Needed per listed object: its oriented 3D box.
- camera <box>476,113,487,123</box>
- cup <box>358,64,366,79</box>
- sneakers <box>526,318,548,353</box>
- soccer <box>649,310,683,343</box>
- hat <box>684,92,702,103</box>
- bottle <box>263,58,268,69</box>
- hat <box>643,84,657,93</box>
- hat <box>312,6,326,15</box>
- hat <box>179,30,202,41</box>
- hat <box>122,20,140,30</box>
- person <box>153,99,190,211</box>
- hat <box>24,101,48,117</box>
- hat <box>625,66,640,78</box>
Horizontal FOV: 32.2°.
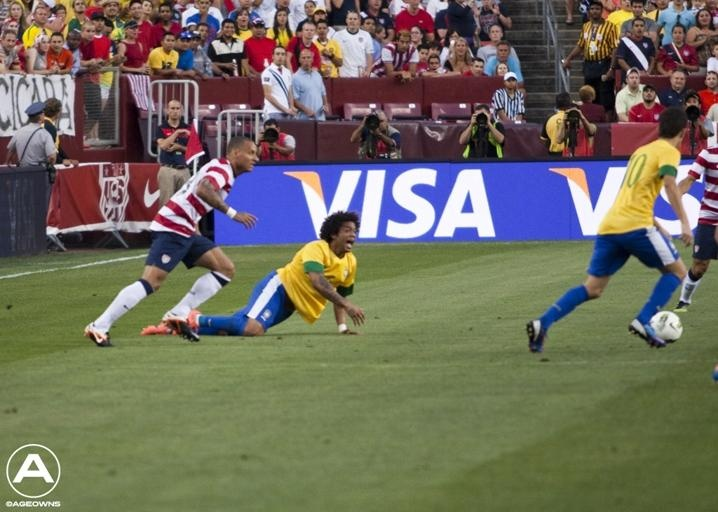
[{"bbox_3d":[2.265,-2.546,23.198,0.206,0.176,0.130,-2,10,-9],"label":"camera"},{"bbox_3d":[0.077,-4.007,27.096,0.255,0.268,0.163,2,-2,-12],"label":"cup"},{"bbox_3d":[1.968,0.903,13.992,0.190,0.463,0.153,-9,30,-13],"label":"sneakers"},{"bbox_3d":[3.483,0.752,14.071,0.294,0.378,0.297,28,58,29],"label":"soccer"},{"bbox_3d":[6.353,-2.983,23.770,0.201,0.311,0.222,5,14,6],"label":"hat"},{"bbox_3d":[-1.948,-3.986,25.718,0.084,0.120,0.286,-1,-12,-2],"label":"bottle"},{"bbox_3d":[5.737,-3.265,24.719,0.262,0.248,0.514,2,11,13],"label":"hat"},{"bbox_3d":[-0.849,-5.144,26.168,0.193,0.190,0.329,1,-8,-3],"label":"hat"},{"bbox_3d":[-3.440,-4.448,25.252,0.268,0.202,0.571,6,13,33],"label":"hat"},{"bbox_3d":[-4.598,-4.636,25.055,0.276,0.179,0.307,-5,11,-23],"label":"hat"},{"bbox_3d":[-3.378,-1.622,22.851,0.671,2.399,0.641,-3,21,-15],"label":"person"},{"bbox_3d":[-5.527,-2.548,21.388,0.245,0.108,0.317,4,36,31],"label":"hat"},{"bbox_3d":[5.513,-3.704,25.182,0.263,0.180,0.385,2,-27,1],"label":"hat"}]
